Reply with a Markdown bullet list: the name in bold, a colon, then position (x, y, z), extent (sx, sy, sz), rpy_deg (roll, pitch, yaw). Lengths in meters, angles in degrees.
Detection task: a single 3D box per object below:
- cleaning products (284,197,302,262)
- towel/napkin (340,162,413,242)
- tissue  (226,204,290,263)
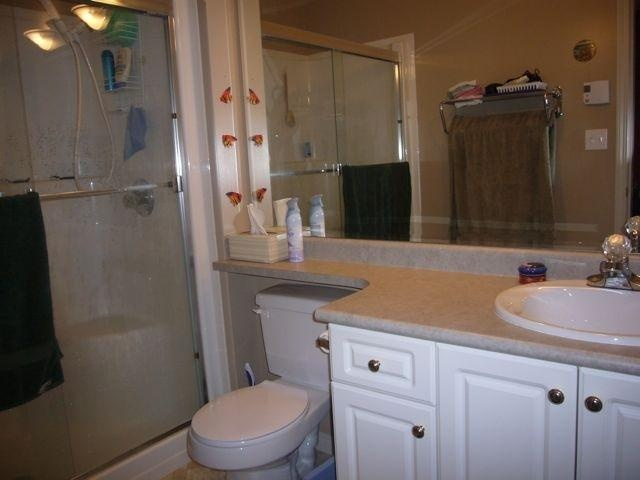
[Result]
- **cleaning products**: position (-0.120, -0.048, 2.410), extent (0.079, 0.307, 0.088), rpy_deg (-11, 12, -41)
- **towel/napkin**: position (0.268, -0.172, 2.254), extent (0.326, 0.322, 0.037), rpy_deg (7, 13, 41)
- **tissue **: position (-0.288, -0.074, 2.571), extent (0.282, 0.295, 0.298), rpy_deg (4, 13, 28)
